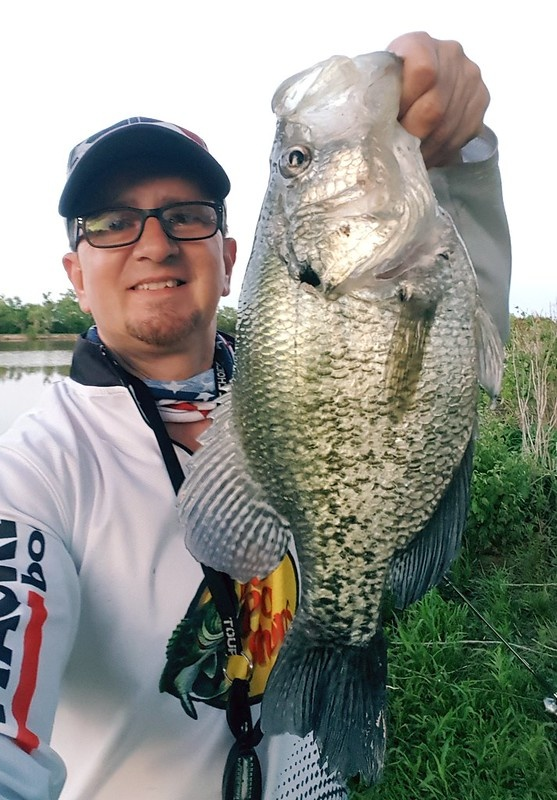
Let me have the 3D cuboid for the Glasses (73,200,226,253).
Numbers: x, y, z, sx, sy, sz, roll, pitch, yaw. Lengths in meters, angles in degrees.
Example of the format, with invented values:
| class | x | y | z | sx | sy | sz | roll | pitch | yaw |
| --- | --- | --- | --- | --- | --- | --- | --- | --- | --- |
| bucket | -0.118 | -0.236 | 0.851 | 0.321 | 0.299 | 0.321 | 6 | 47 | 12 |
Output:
| class | x | y | z | sx | sy | sz | roll | pitch | yaw |
| --- | --- | --- | --- | --- | --- | --- | --- | --- | --- |
| Glasses | -0.340 | -0.446 | 1.998 | 0.231 | 0.056 | 0.211 | 0 | -18 | -27 |

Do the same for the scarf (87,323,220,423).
| class | x | y | z | sx | sy | sz | roll | pitch | yaw |
| --- | --- | --- | --- | --- | --- | --- | --- | --- | --- |
| scarf | -0.255 | -0.061 | 2.062 | 0.267 | 0.296 | 0.129 | 0 | 5 | -5 |

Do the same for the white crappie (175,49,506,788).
| class | x | y | z | sx | sy | sz | roll | pitch | yaw |
| --- | --- | --- | --- | --- | --- | --- | --- | --- | --- |
| white crappie | 0.088 | 0.041 | 1.552 | 0.558 | 1.329 | 0.191 | -1 | 0 | 19 |
